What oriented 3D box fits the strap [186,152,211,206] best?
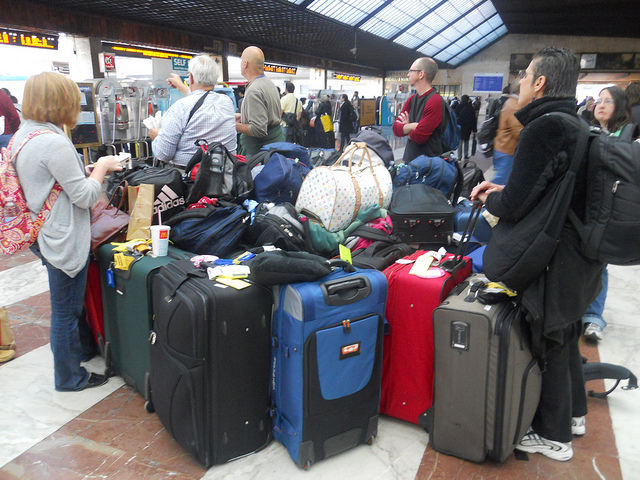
[{"bbox_3d":[-0.798,-0.468,3.234,0.099,0.260,0.339,19,-22,-2],"label":"strap"}]

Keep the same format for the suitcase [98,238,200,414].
[{"bbox_3d":[-1.031,0.469,2.983,0.539,0.833,0.572,13,17,30],"label":"suitcase"}]

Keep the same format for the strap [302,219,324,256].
[{"bbox_3d":[-0.043,-0.013,3.117,0.147,0.206,0.063,3,-16,-34],"label":"strap"}]

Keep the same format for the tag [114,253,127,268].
[{"bbox_3d":[-1.159,0.120,2.760,0.072,0.099,0.029,-3,-21,8],"label":"tag"}]

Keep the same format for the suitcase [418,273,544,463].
[{"bbox_3d":[0.949,0.695,2.631,0.507,0.862,0.614,4,8,37],"label":"suitcase"}]

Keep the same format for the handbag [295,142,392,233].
[{"bbox_3d":[0.218,-0.410,3.480,0.399,0.661,0.780,29,30,34],"label":"handbag"}]

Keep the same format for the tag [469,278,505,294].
[{"bbox_3d":[0.898,0.257,2.588,0.079,0.030,0.104,-10,20,-41],"label":"tag"}]

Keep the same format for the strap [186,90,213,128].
[{"bbox_3d":[-0.878,-0.987,3.549,0.054,0.374,0.055,24,-26,7],"label":"strap"}]

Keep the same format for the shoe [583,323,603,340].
[{"bbox_3d":[2.009,0.674,3.503,0.159,0.149,0.349,-1,-5,29],"label":"shoe"}]

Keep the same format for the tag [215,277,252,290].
[{"bbox_3d":[-0.428,0.217,2.360,0.190,0.024,0.107,14,13,41],"label":"tag"}]

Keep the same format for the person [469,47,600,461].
[{"bbox_3d":[1.145,0.065,2.578,0.749,2.089,0.738,2,5,27],"label":"person"}]

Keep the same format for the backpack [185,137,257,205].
[{"bbox_3d":[-0.674,-0.461,3.346,0.416,0.427,0.386,4,9,5],"label":"backpack"}]

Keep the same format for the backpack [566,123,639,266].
[{"bbox_3d":[1.349,-0.196,2.222,0.317,0.606,0.175,10,20,29],"label":"backpack"}]

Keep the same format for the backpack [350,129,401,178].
[{"bbox_3d":[0.516,-0.772,4.254,0.492,0.461,0.366,-5,18,-44],"label":"backpack"}]

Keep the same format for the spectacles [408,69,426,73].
[{"bbox_3d":[0.925,-1.590,4.493,0.105,0.032,0.103,3,11,7],"label":"spectacles"}]

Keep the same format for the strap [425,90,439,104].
[{"bbox_3d":[1.043,-1.337,4.471,0.147,0.119,0.063,-9,19,-29],"label":"strap"}]

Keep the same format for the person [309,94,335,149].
[{"bbox_3d":[0.067,-3.134,12.636,0.672,1.351,0.847,0,17,-1],"label":"person"}]

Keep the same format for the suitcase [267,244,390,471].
[{"bbox_3d":[0.059,0.617,2.499,0.631,0.989,0.344,-8,19,-26],"label":"suitcase"}]

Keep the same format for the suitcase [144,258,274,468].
[{"bbox_3d":[-0.597,0.627,2.477,0.648,0.950,0.438,9,19,28],"label":"suitcase"}]

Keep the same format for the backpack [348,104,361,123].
[{"bbox_3d":[0.979,-3.615,13.653,0.119,0.503,0.690,7,18,20],"label":"backpack"}]

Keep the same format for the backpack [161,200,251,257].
[{"bbox_3d":[-0.702,-0.071,3.036,0.345,0.190,0.438,12,34,32],"label":"backpack"}]

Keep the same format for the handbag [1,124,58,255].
[{"bbox_3d":[-1.577,-0.275,2.601,0.344,0.690,0.485,3,19,-36],"label":"handbag"}]

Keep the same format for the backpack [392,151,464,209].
[{"bbox_3d":[0.984,-0.444,4.380,0.650,0.675,0.477,-2,2,6],"label":"backpack"}]

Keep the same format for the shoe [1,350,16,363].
[{"bbox_3d":[-2.065,0.764,3.155,0.074,0.053,0.084,-5,18,-18],"label":"shoe"}]

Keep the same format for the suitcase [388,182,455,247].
[{"bbox_3d":[0.705,-0.191,3.305,0.425,0.239,0.436,4,48,1],"label":"suitcase"}]

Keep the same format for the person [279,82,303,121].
[{"bbox_3d":[-0.640,-3.070,11.113,0.590,1.258,0.309,-22,54,-21],"label":"person"}]

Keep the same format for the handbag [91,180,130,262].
[{"bbox_3d":[-1.314,-0.101,3.000,0.195,0.433,0.430,26,-4,-31],"label":"handbag"}]

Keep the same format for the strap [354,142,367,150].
[{"bbox_3d":[0.292,-0.667,3.351,0.076,0.028,0.076,3,20,-2],"label":"strap"}]

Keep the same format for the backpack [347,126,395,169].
[{"bbox_3d":[0.457,-0.869,4.367,0.324,0.425,0.390,0,7,21],"label":"backpack"}]

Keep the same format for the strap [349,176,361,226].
[{"bbox_3d":[0.255,-0.276,3.301,0.063,0.307,0.086,3,17,8],"label":"strap"}]

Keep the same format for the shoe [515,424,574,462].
[{"bbox_3d":[1.181,1.090,2.596,0.350,0.171,0.131,2,3,28],"label":"shoe"}]

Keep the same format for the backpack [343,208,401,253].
[{"bbox_3d":[0.392,-0.069,3.275,0.392,0.319,0.143,-23,14,45],"label":"backpack"}]

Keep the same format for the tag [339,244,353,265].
[{"bbox_3d":[0.148,0.087,2.718,0.107,0.100,0.012,9,-18,-40],"label":"tag"}]

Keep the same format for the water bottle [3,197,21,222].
[{"bbox_3d":[-1.687,-0.165,2.605,0.096,0.133,0.025,1,17,3],"label":"water bottle"}]

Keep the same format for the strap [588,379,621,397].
[{"bbox_3d":[1.734,0.897,2.944,0.133,0.039,0.132,-1,0,-6],"label":"strap"}]

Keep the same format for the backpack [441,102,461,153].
[{"bbox_3d":[1.307,-1.145,4.902,0.275,0.487,0.344,-1,16,16],"label":"backpack"}]

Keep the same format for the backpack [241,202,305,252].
[{"bbox_3d":[-0.287,-0.082,3.166,0.281,0.384,0.401,12,3,36],"label":"backpack"}]

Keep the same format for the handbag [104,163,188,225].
[{"bbox_3d":[-1.149,-0.301,3.251,0.426,0.416,0.430,-15,21,-39],"label":"handbag"}]

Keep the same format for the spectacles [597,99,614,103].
[{"bbox_3d":[2.289,-1.114,3.830,0.056,0.025,0.153,-1,17,-5],"label":"spectacles"}]
